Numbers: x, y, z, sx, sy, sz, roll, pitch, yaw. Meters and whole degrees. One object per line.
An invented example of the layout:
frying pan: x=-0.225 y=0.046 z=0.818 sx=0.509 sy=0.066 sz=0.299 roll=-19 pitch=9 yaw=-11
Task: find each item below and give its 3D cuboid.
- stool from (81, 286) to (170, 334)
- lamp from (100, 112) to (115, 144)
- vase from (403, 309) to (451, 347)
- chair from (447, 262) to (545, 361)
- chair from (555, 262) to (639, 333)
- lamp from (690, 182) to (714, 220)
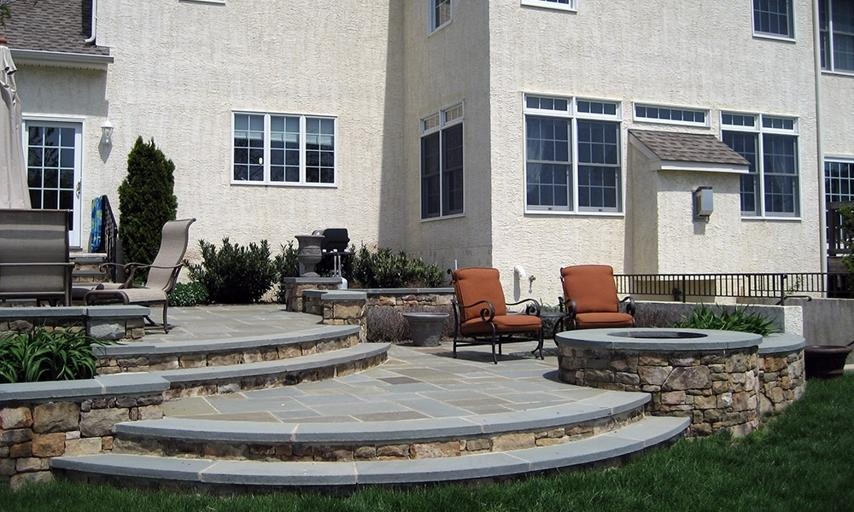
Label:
stool: x=-4.721 y=0.998 z=11.166 sx=1.125 sy=0.512 sz=0.835 roll=-5 pitch=-7 yaw=39
lamp: x=-8.000 y=-3.216 z=17.732 sx=0.288 sy=0.739 sz=0.257 roll=3 pitch=-3 yaw=-23
vase: x=-0.037 y=1.456 z=14.079 sx=0.841 sy=0.425 sz=0.725 roll=2 pitch=-7 yaw=-18
chair: x=1.302 y=1.044 z=12.881 sx=1.617 sy=1.699 sz=1.655 roll=0 pitch=-3 yaw=29
chair: x=3.158 y=0.961 z=13.174 sx=1.440 sy=1.380 sz=1.488 roll=-5 pitch=6 yaw=-16
lamp: x=6.555 y=-1.267 z=16.699 sx=0.526 sy=0.833 sz=0.262 roll=2 pitch=-2 yaw=-18
